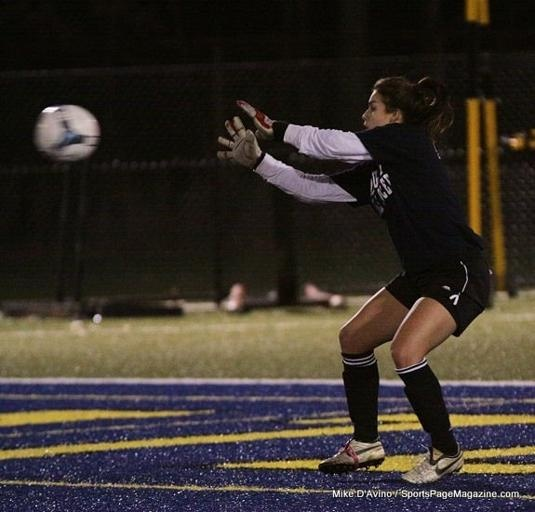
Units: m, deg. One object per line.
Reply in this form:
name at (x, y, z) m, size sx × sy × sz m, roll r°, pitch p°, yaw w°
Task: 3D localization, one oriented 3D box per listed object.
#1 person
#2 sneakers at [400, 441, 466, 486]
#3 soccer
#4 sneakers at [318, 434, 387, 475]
person at (0.594, 0.110, 5.963) m, size 1.224 × 2.276 × 0.670 m, roll 4°, pitch 9°, yaw 28°
sneakers at (0.925, 1.159, 5.850) m, size 0.441 × 0.159 × 0.146 m, roll -23°, pitch 17°, yaw -8°
soccer at (-1.447, -0.883, 7.585) m, size 0.475 × 0.371 × 0.431 m, roll -1°, pitch -2°, yaw 6°
sneakers at (0.487, 1.143, 5.970) m, size 0.451 × 0.179 × 0.144 m, roll -6°, pitch -8°, yaw -23°
